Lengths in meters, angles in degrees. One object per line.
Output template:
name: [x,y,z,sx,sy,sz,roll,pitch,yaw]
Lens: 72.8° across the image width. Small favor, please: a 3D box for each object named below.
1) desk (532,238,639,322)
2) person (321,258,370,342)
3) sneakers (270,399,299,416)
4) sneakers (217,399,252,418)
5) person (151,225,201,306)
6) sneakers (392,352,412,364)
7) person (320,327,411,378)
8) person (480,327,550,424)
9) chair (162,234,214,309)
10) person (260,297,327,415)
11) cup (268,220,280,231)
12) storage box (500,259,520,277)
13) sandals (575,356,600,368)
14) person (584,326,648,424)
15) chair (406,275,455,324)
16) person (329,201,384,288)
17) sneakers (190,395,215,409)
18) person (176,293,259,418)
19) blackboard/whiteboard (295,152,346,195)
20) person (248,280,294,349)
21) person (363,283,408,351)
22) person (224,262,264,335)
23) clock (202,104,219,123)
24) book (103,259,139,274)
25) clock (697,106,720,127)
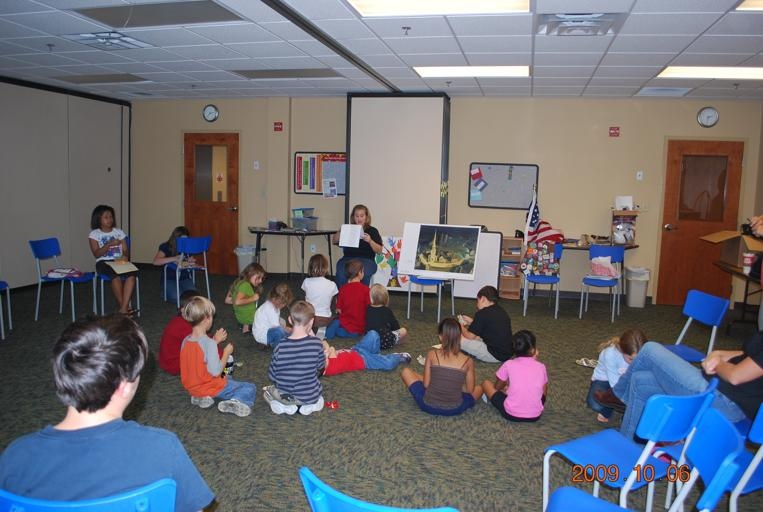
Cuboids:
desk: [3.099,0.386,8.366,1.682,1.122,1.028,3,5,30]
person: [-0.415,0.520,6.674,0.667,0.921,0.598,4,9,15]
sneakers: [-0.905,1.390,4.810,0.226,0.124,0.088,10,31,4]
sneakers: [-1.356,1.405,4.839,0.314,0.123,0.144,7,-8,18]
person: [-3.146,0.128,8.104,0.729,1.123,0.631,-7,22,-41]
sneakers: [0.244,1.174,5.972,0.243,0.087,0.101,0,7,-26]
person: [-0.264,1.088,5.895,1.127,0.544,0.386,-14,27,-17]
person: [1.251,1.104,4.907,0.642,0.803,0.630,4,6,17]
chair: [-3.015,0.216,7.949,0.682,0.987,0.705,-2,2,-29]
person: [-0.807,0.945,4.788,0.558,1.028,0.309,-2,14,-13]
cup: [-2.000,-0.571,9.643,0.149,0.186,0.264,1,3,16]
storage box: [2.236,0.215,9.051,0.274,0.156,0.331,5,11,18]
sandals: [2.406,1.244,6.062,0.278,0.072,0.150,0,6,-21]
person: [2.210,1.178,4.838,0.400,0.814,0.478,36,-17,-22]
chair: [0.786,0.656,8.065,0.524,0.490,0.515,15,4,-35]
person: [-0.398,0.033,7.801,0.753,1.537,0.870,3,4,9]
sneakers: [-1.698,1.372,4.899,0.175,0.113,0.047,5,12,9]
person: [-1.659,1.034,5.246,0.853,0.991,0.599,11,18,30]
blackboard/whiteboard: [-1.135,-1.602,9.859,0.891,0.626,0.065,1,4,8]
person: [-1.254,0.696,6.149,0.502,0.733,0.572,6,0,-7]
person: [0.013,0.722,6.444,0.570,0.763,0.534,3,6,29]
person: [-1.691,0.534,6.654,0.700,0.838,0.520,1,1,-15]
clock: [-3.370,-2.801,10.194,0.349,0.356,0.075,7,15,20]
book: [-3.660,0.156,7.270,0.390,0.209,0.318,9,15,27]
clock: [5.494,-2.346,8.691,0.356,0.390,0.083,-1,5,12]
